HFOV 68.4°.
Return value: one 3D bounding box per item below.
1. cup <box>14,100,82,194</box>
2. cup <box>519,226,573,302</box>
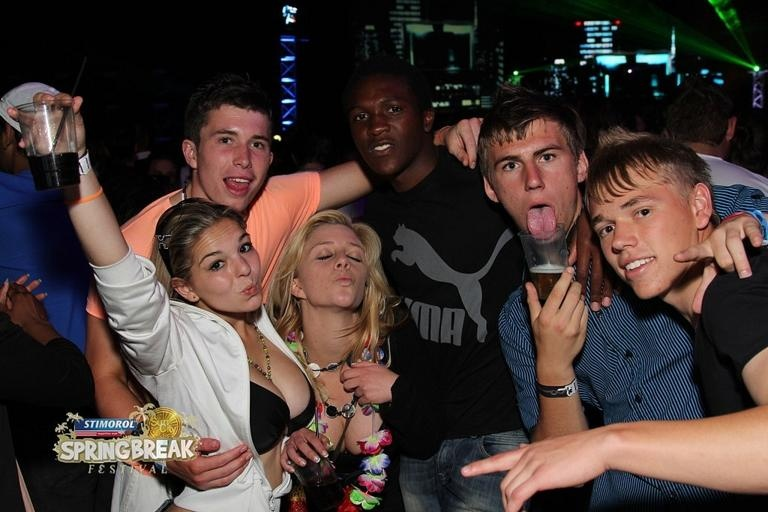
[{"bbox_3d":[-1.582,-0.512,2.656,0.263,0.398,0.180,-5,15,-14],"label":"cup"},{"bbox_3d":[0.916,0.063,3.152,0.363,0.395,0.346,-4,-7,0],"label":"cup"}]
